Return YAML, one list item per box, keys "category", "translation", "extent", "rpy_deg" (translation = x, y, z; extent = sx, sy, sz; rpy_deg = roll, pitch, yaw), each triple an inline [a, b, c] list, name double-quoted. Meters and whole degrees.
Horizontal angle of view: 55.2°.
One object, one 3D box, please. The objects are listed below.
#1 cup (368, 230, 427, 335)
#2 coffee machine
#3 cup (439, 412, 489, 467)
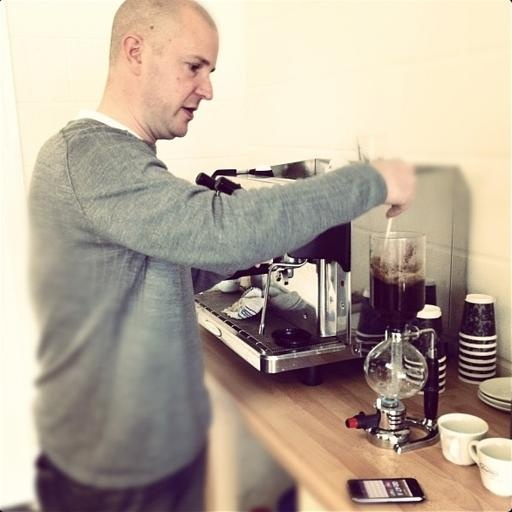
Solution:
- category: "cup"
  translation: [0.273, 0.054, 0.929]
  extent: [0.150, 0.175, 0.147]
  rpy_deg: [-4, 10, 1]
- category: "coffee machine"
  translation: [0.310, 0.151, 1.440]
  extent: [0.474, 0.423, 0.676]
  rpy_deg: [1, -15, 8]
- category: "cup"
  translation: [0.343, 0.305, 0.809]
  extent: [0.076, 0.057, 0.078]
  rpy_deg: [-3, 2, 0]
